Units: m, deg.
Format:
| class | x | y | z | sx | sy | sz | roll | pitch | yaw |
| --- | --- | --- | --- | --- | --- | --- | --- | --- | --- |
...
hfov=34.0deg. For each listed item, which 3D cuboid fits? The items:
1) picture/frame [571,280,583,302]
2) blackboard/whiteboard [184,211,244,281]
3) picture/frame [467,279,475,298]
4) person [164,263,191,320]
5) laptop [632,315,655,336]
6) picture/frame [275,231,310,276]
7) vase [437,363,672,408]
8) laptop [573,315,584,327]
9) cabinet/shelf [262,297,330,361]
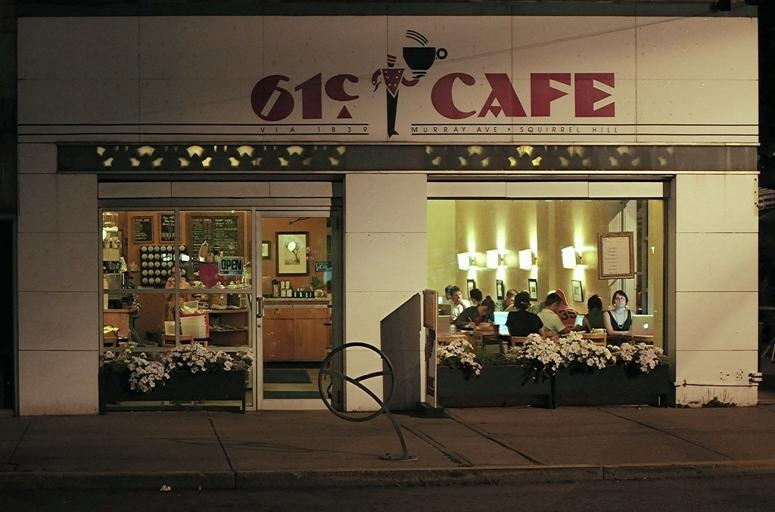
| class | x | y | z | sx | sy | sz | roll | pitch | yaw |
| --- | --- | --- | --- | --- | --- | --- | --- | --- | --- |
| picture/frame | 3.551 | 0.670 | 23.826 | 0.048 | 0.449 | 0.368 | 8 | -10 | -31 |
| blackboard/whiteboard | -2.952 | -0.148 | 21.778 | 0.992 | 1.187 | 0.232 | 0 | -4 | -11 |
| picture/frame | 1.596 | 0.637 | 24.656 | 0.029 | 0.383 | 0.355 | -2 | -1 | 30 |
| person | -3.609 | 0.618 | 21.787 | 0.412 | 0.939 | 0.122 | 0 | -4 | -9 |
| laptop | 4.542 | 1.213 | 22.618 | 0.460 | 0.403 | 0.337 | 1 | -2 | 14 |
| picture/frame | -1.933 | -0.095 | 25.452 | 0.950 | 1.170 | 0.079 | -1 | 7 | -23 |
| vase | 3.107 | 2.272 | 22.279 | 2.501 | 0.463 | 1.036 | 0 | -2 | -3 |
| laptop | 3.410 | 1.181 | 22.868 | 0.183 | 0.198 | 0.214 | 8 | -7 | -28 |
| cabinet/shelf | -1.900 | 1.469 | 25.484 | 1.567 | 1.332 | 0.569 | 0 | -2 | -6 |
